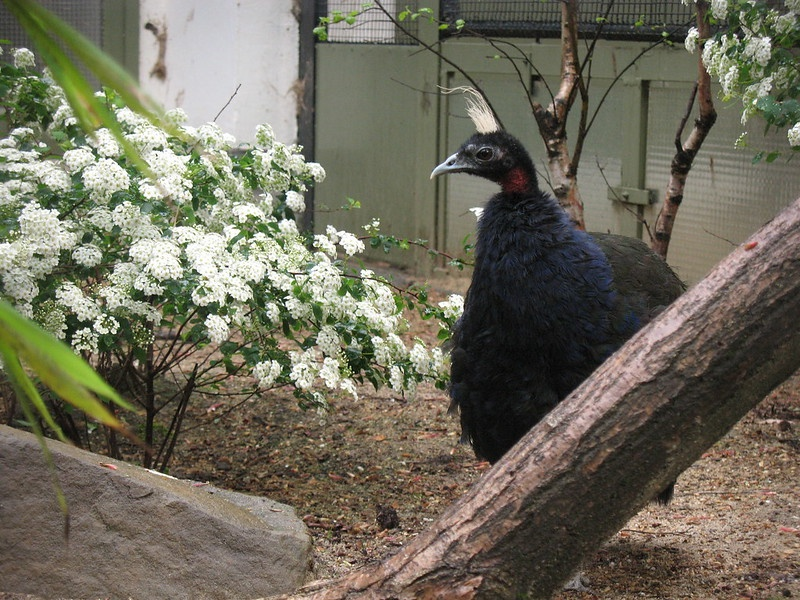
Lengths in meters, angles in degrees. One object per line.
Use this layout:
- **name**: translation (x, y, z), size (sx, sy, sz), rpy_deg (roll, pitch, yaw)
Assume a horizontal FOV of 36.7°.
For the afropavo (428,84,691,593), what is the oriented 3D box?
- **afropavo**: translation (0.910, 0.234, 6.706), size (1.095, 1.612, 0.836), rpy_deg (-9, 26, -27)
